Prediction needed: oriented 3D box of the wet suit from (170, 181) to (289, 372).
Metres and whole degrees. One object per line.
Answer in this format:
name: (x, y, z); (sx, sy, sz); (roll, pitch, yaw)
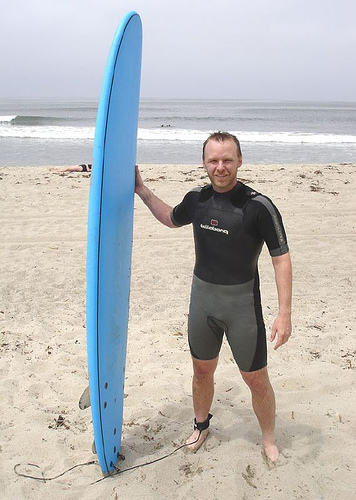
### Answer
wet suit: (0.207, 0.050, 2.589); (0.492, 0.918, 0.617); (3, 16, 7)

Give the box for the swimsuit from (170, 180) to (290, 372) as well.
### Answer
swimsuit: (0.204, 0.102, 2.539); (0.487, 0.905, 0.608); (4, 16, 7)

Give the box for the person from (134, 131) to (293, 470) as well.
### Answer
person: (0.209, 0.365, 2.532); (0.743, 1.418, 0.209); (7, 15, 31)
